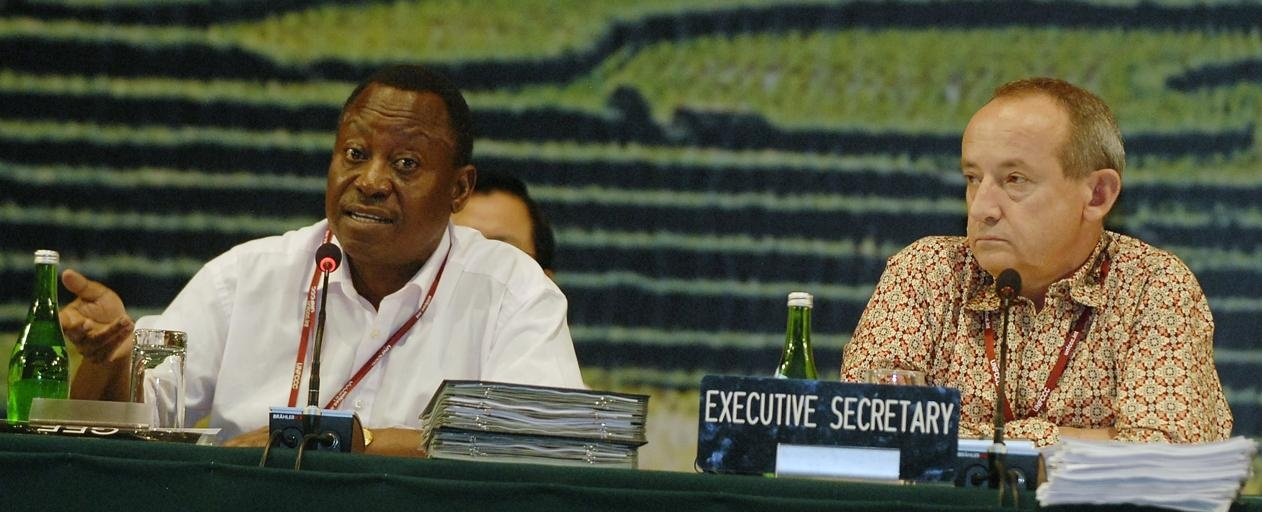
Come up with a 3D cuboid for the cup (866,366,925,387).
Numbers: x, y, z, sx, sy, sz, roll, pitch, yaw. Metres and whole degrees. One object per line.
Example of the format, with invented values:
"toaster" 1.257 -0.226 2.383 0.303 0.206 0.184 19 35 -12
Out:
"cup" 1.458 0.663 10.803 0.307 0.133 0.245 3 -14 4
